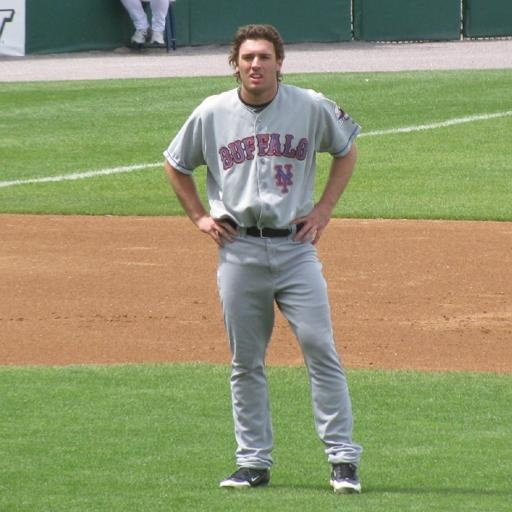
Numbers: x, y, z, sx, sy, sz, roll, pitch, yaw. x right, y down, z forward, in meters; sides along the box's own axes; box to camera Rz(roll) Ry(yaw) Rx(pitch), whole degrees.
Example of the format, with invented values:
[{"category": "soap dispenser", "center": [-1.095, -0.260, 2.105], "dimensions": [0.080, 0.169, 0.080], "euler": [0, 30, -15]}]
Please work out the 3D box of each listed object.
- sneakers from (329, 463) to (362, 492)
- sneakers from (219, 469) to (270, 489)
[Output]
[{"category": "sneakers", "center": [0.598, 1.481, 8.824], "dimensions": [0.207, 0.172, 0.177], "euler": [2, 13, 4]}, {"category": "sneakers", "center": [-0.083, 1.486, 8.943], "dimensions": [0.337, 0.146, 0.127], "euler": [1, -2, -17]}]
